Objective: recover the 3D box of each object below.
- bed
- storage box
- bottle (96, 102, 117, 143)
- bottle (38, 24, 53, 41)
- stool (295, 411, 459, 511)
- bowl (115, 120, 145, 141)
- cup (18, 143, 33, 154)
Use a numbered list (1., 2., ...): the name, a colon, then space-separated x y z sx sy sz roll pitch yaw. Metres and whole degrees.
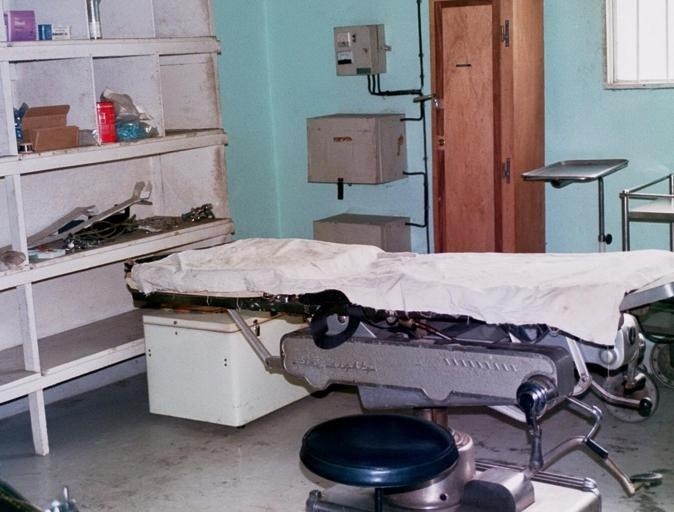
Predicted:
1. bed: 0.327 0.374 3.005 2.034 0.752 0.962 6 17 36
2. storage box: -0.669 0.633 4.090 0.766 0.453 0.974 2 7 22
3. bottle: -1.367 -0.782 4.019 0.099 0.238 0.167 -8 15 -10
4. bottle: -1.646 -1.249 3.839 0.074 0.086 0.139 -12 16 -27
5. stool: 0.122 0.556 2.115 0.416 0.289 0.350 -1 20 0
6. bowl: -1.299 -0.778 4.231 0.164 0.110 0.140 -3 14 6
7. cup: -1.677 -0.575 3.659 0.061 0.041 0.078 -3 7 -11
